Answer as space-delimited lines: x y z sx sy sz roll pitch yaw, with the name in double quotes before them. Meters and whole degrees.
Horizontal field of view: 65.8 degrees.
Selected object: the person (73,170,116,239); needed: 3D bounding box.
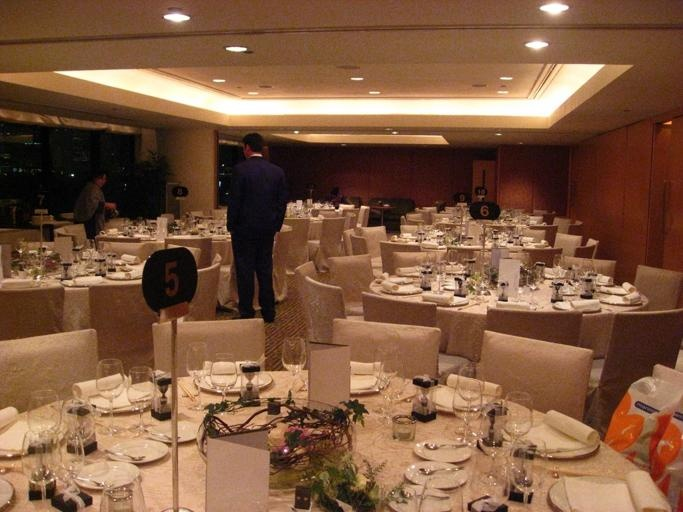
"person" -4.145 -0.793 9.035 0.542 1.350 0.519 -16 40 -42
